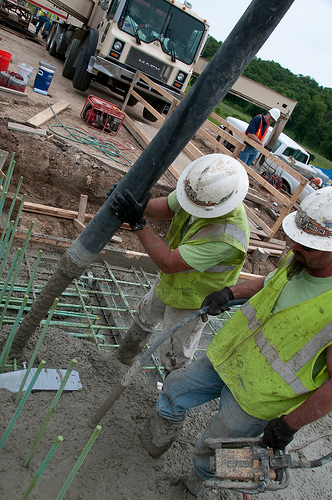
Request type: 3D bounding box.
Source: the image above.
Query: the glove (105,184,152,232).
[{"bbox_3d":[-0.208,-0.210,1.960,0.255,0.188,0.081,47,-28,-17],"label":"glove"}]

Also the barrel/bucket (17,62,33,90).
[{"bbox_3d":[-2.759,-3.430,7.162,0.253,0.326,0.490,22,21,-33],"label":"barrel/bucket"}]

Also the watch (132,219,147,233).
[{"bbox_3d":[-0.150,-0.135,2.068,0.031,0.072,0.078,55,-18,8],"label":"watch"}]
